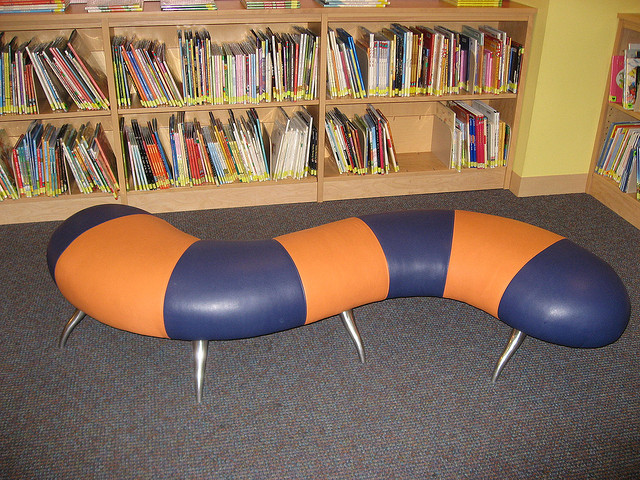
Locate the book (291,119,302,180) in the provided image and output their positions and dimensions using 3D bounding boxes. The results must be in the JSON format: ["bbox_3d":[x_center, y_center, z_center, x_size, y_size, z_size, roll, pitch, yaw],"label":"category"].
[{"bbox_3d":[-0.158,-0.618,3.283,0.034,0.313,0.251,2,33,-18],"label":"book"}]

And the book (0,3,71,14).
[{"bbox_3d":[-1.604,-1.275,2.744,0.326,0.038,0.033,-13,33,-14],"label":"book"}]

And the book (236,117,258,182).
[{"bbox_3d":[-0.482,-0.596,3.247,0.046,0.445,0.046,-29,21,-38],"label":"book"}]

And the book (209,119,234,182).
[{"bbox_3d":[-0.651,-0.579,3.233,0.037,0.448,0.032,-17,15,18],"label":"book"}]

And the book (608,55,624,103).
[{"bbox_3d":[1.911,-1.051,3.226,0.056,0.229,0.229,7,23,18],"label":"book"}]

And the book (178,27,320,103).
[{"bbox_3d":[-0.431,-1.082,3.106,0.888,0.438,0.177,-6,32,-3],"label":"book"}]

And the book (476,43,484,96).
[{"bbox_3d":[1.060,-1.126,3.263,0.052,0.306,0.187,3,33,13],"label":"book"}]

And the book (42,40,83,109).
[{"bbox_3d":[-1.543,-0.996,2.950,0.044,0.409,0.303,-23,31,1],"label":"book"}]

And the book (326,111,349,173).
[{"bbox_3d":[0.105,-0.659,3.404,0.082,0.371,0.204,-18,34,-20],"label":"book"}]

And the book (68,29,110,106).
[{"bbox_3d":[-1.423,-1.054,3.015,0.044,0.383,0.433,-22,71,-19],"label":"book"}]

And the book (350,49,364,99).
[{"bbox_3d":[0.239,-1.085,3.227,0.037,0.342,0.036,-17,14,-5],"label":"book"}]

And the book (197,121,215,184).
[{"bbox_3d":[-0.747,-0.552,3.227,0.031,0.427,0.035,-15,12,9],"label":"book"}]

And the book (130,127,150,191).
[{"bbox_3d":[-1.171,-0.517,3.201,0.023,0.346,0.191,-16,34,-17],"label":"book"}]

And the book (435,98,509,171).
[{"bbox_3d":[1.059,-0.772,3.566,0.396,0.182,0.542,-6,26,-10],"label":"book"}]

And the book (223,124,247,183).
[{"bbox_3d":[-0.562,-0.581,3.239,0.054,0.403,0.056,-17,20,3],"label":"book"}]

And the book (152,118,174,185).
[{"bbox_3d":[-1.036,-0.579,3.239,0.100,0.448,0.148,-14,-9,-12],"label":"book"}]

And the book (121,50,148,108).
[{"bbox_3d":[-1.125,-0.973,2.990,0.080,0.334,0.020,9,35,21],"label":"book"}]

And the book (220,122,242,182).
[{"bbox_3d":[-0.586,-0.582,3.235,0.042,0.430,0.033,-19,19,6],"label":"book"}]

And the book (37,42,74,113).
[{"bbox_3d":[-1.583,-0.984,2.951,0.052,0.368,0.333,-19,35,0],"label":"book"}]

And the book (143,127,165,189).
[{"bbox_3d":[-1.075,-0.510,3.174,0.043,0.435,0.041,-28,25,-32],"label":"book"}]

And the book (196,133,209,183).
[{"bbox_3d":[-0.760,-0.529,3.229,0.028,0.265,0.024,-19,19,-14],"label":"book"}]

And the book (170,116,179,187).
[{"bbox_3d":[-0.928,-0.563,3.187,0.038,0.421,0.055,-6,11,-16],"label":"book"}]

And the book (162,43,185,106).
[{"bbox_3d":[-0.933,-1.050,3.118,0.039,0.287,0.389,-18,27,-13],"label":"book"}]

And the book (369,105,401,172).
[{"bbox_3d":[0.447,-0.715,3.444,0.057,0.393,0.357,-17,42,11],"label":"book"}]

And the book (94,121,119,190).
[{"bbox_3d":[-1.380,-0.529,3.176,0.043,0.338,0.380,-21,44,-20],"label":"book"}]

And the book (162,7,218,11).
[{"bbox_3d":[-0.765,-1.328,2.832,0.251,0.027,0.027,-3,23,-6],"label":"book"}]

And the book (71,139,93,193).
[{"bbox_3d":[-1.516,-0.446,3.127,0.043,0.302,0.093,-21,35,-24],"label":"book"}]

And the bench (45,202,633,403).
[{"bbox_3d":[0.026,0.139,2.105,1.936,0.463,1.123,-4,36,-7],"label":"bench"}]
